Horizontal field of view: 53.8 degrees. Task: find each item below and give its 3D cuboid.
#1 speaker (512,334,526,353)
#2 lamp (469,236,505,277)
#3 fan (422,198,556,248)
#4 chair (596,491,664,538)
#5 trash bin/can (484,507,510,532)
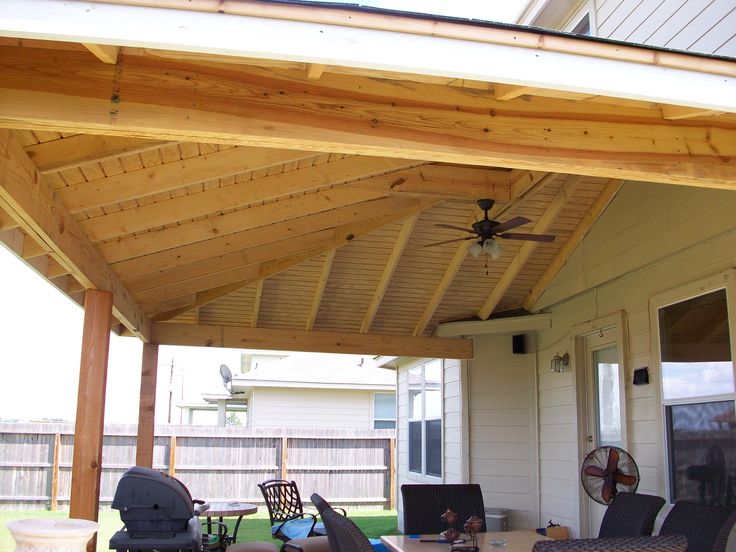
[{"bbox_3d":[1.932,0.988,9.217,0.152,0.262,0.138,2,-19,-12],"label":"speaker"},{"bbox_3d":[1.221,-0.178,6.989,0.437,0.316,0.399,0,-2,-13],"label":"lamp"},{"bbox_3d":[1.223,-0.401,7.033,0.992,0.270,0.756,4,3,-3],"label":"fan"},{"bbox_3d":[2.094,2.069,5.752,0.298,0.353,0.508,3,-17,-16],"label":"chair"},{"bbox_3d":[1.580,3.200,8.795,0.289,0.267,0.168,-2,-18,2],"label":"trash bin/can"}]
